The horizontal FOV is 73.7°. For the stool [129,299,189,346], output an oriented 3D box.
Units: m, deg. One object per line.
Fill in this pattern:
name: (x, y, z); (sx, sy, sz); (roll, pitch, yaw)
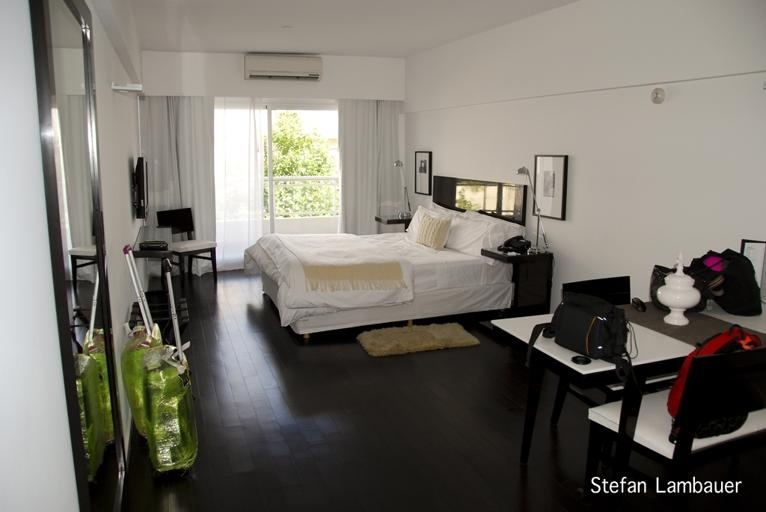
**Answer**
stool: (-1.914, 0.657, 4.403); (0.395, 0.207, 0.543); (-4, 23, -17)

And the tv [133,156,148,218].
tv: (-2.555, -0.727, 5.361); (0.097, 0.560, 0.736); (-1, 13, -16)

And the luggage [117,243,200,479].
luggage: (-1.482, 0.640, 3.317); (0.418, 1.441, 0.590); (-7, 16, -23)

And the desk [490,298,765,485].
desk: (1.487, 0.764, 3.018); (0.944, 0.757, 1.000); (-9, 22, -26)

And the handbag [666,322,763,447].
handbag: (1.737, 0.678, 2.689); (0.328, 0.542, 0.605); (14, 20, 43)

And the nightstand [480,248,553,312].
nightstand: (1.473, 0.213, 5.769); (0.640, 0.757, 0.721); (-11, 19, -34)

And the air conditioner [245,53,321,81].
air conditioner: (-1.439, -2.739, 7.364); (1.079, 0.362, 0.216); (-5, 15, -15)

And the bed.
bed: (-0.070, 0.153, 5.941); (2.157, 1.192, 2.021); (-2, 11, -18)

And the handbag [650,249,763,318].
handbag: (2.315, 0.182, 3.649); (0.541, 0.287, 0.564); (-5, 14, -2)

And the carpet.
carpet: (0.315, 0.838, 5.195); (0.704, 0.086, 0.471); (-4, 14, -10)

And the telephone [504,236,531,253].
telephone: (1.471, -0.132, 5.590); (0.220, 0.108, 0.172); (-7, 4, -14)
